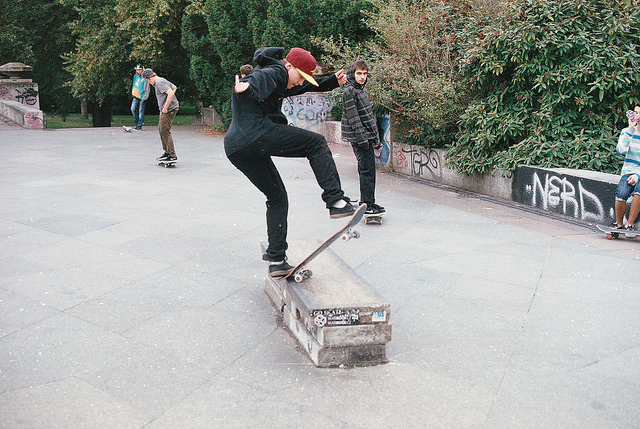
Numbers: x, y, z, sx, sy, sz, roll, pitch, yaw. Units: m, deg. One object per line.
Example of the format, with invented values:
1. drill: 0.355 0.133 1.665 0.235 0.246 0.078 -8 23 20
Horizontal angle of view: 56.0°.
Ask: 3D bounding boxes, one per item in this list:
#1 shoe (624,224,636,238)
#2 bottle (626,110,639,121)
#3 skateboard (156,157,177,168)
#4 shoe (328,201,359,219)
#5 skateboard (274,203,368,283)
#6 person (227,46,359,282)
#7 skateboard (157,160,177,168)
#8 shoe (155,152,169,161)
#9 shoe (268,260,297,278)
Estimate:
1. shoe: 4.846 0.242 9.383 0.169 0.215 0.222 6 16 26
2. bottle: 4.914 -1.560 9.448 0.135 0.136 0.282 2 14 12
3. skateboard: -3.400 -1.165 13.379 0.444 0.275 0.138 -7 38 -15
4. shoe: 0.291 -0.049 6.407 0.389 0.138 0.135 -11 20 -8
5. skateboard: 0.037 0.378 7.521 1.301 0.188 0.308 -38 -18 10
6. person: -0.404 -0.524 6.555 1.177 2.494 0.755 -2 15 -5
7. skateboard: -3.376 -1.154 13.322 0.290 0.157 0.174 -2 15 -11
8. shoe: -3.445 -1.292 13.264 0.239 0.176 0.223 -4 14 -13
9. shoe: -0.382 0.615 6.861 0.394 0.150 0.127 -7 5 2
